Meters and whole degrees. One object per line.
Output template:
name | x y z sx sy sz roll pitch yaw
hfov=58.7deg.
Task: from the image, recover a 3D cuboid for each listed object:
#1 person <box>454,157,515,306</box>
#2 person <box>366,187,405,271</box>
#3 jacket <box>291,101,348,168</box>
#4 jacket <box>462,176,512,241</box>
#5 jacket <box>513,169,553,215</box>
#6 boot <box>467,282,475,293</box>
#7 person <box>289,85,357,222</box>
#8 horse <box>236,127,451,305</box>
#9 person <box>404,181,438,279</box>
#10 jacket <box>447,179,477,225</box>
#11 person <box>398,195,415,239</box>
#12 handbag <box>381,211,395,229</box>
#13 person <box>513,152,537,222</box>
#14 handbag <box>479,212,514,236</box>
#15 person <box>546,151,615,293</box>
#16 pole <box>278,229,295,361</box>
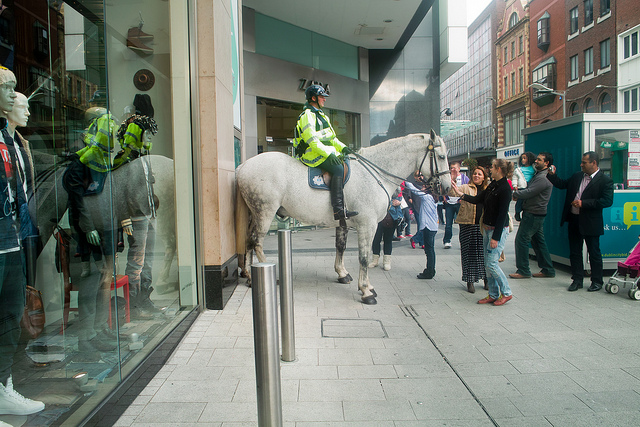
person | 2.799 0.319 9.354 0.634 2.404 0.936 -1 12 -3
person | 1.394 0.058 11.959 0.641 2.099 0.566 7 7 4
jacket | 0.060 -1.357 9.781 1.011 1.110 0.843 0 9 8
jacket | 2.795 -0.140 9.094 0.844 1.150 0.760 2 10 2
jacket | 4.104 -0.437 10.840 0.788 1.075 0.801 7 -1 25
boot | 2.668 1.298 10.076 0.123 0.174 0.164 3 13 13
person | 0.075 -1.026 9.731 1.038 2.270 0.721 1 12 5
horse | 0.494 0.134 10.670 3.894 2.288 1.671 -1 -28 1
person | 1.938 0.292 11.365 0.810 2.089 0.709 0 0 -3
jacket | 2.618 -0.113 10.277 0.330 1.019 0.359 0 2 13
person | 2.353 0.113 15.615 0.371 0.320 1.210 4 -16 15
handbag | 1.375 0.132 11.486 0.319 0.429 0.245 0 -3 -5
person | 4.085 -0.587 11.332 0.463 1.407 0.463 2 -18 20
handbag | 2.810 0.163 9.200 0.385 0.432 0.223 -3 -6 17
person | 4.733 0.136 10.135 0.676 2.373 0.980 -1 12 -4
pole | -0.419 1.041 7.271 0.339 1.890 0.336 -4 17 -9
